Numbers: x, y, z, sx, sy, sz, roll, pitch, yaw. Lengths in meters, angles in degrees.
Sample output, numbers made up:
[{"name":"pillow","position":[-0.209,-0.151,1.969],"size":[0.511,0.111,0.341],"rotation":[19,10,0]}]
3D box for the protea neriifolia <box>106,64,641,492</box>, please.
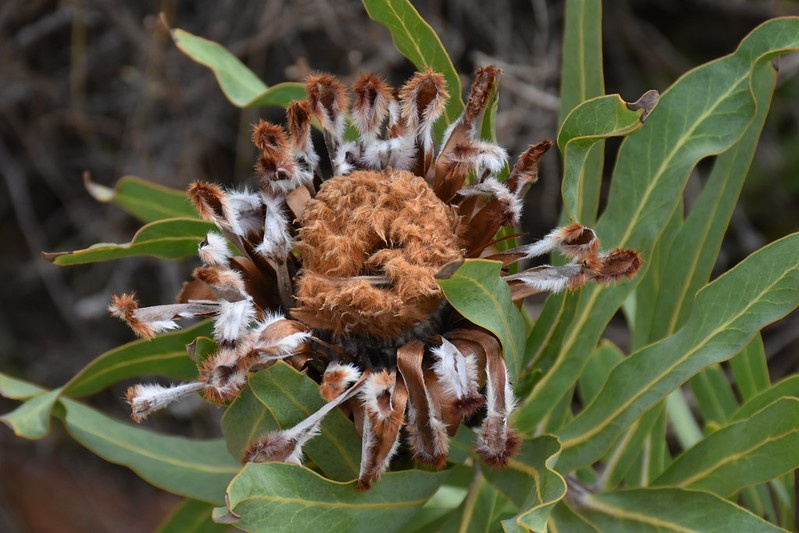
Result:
[{"name":"protea neriifolia","position":[-0.127,0.074,4.023],"size":[1.801,0.861,1.388],"rotation":[-14,55,-4]}]
